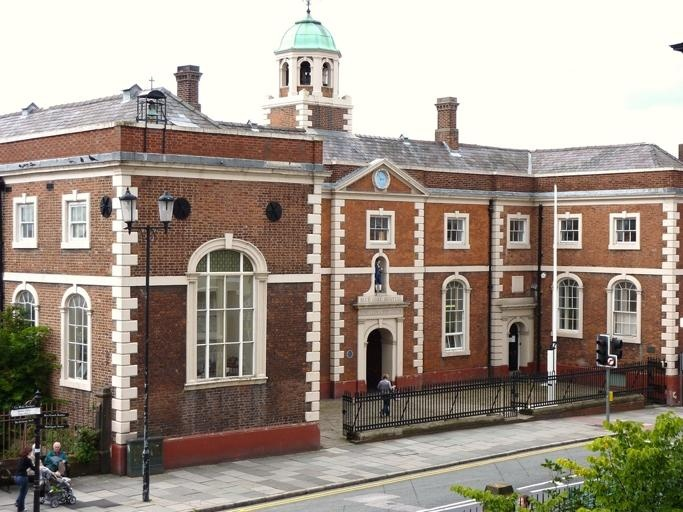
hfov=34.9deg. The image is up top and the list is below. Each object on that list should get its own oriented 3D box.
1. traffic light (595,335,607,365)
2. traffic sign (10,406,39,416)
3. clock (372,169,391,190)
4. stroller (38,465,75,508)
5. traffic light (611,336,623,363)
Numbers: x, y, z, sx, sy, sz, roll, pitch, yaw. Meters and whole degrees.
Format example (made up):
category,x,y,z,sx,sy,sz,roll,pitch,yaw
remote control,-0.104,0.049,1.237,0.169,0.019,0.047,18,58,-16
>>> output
category,x,y,z,sx,sy,sz,roll,pitch,yaw
traffic light,8.589,3.061,35.794,0.303,1.004,0.576,-3,-7,2
traffic sign,-8.634,4.222,29.817,0.776,0.227,0.847,0,-8,-18
clock,1.709,-3.393,47.509,0.074,0.909,0.857,-1,-2,42
stroller,-8.364,6.751,31.879,1.034,1.217,1.013,-1,-2,-8
traffic light,9.118,2.973,36.002,0.332,0.665,1.520,-5,-8,18
